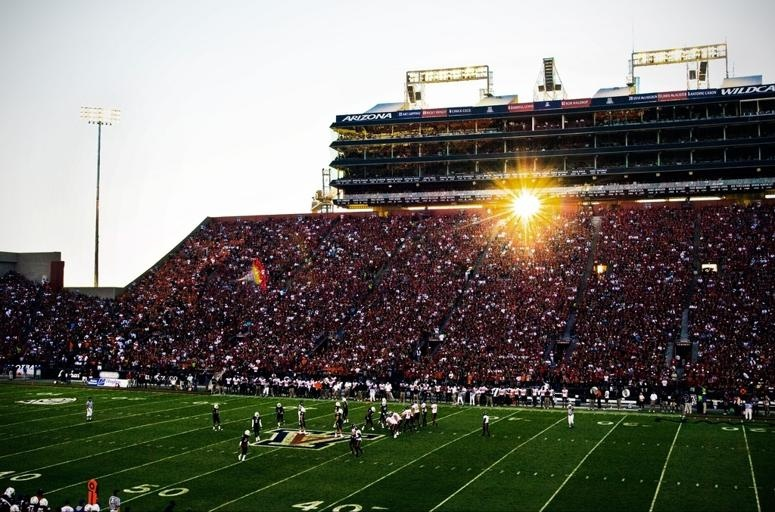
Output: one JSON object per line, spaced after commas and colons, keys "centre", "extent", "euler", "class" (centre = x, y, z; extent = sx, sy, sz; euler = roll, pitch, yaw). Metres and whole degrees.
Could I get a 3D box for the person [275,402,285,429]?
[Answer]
{"centre": [-7.076, 10.443, 61.641], "extent": [0.510, 1.513, 2.116], "euler": [0, -3, -7], "class": "person"}
